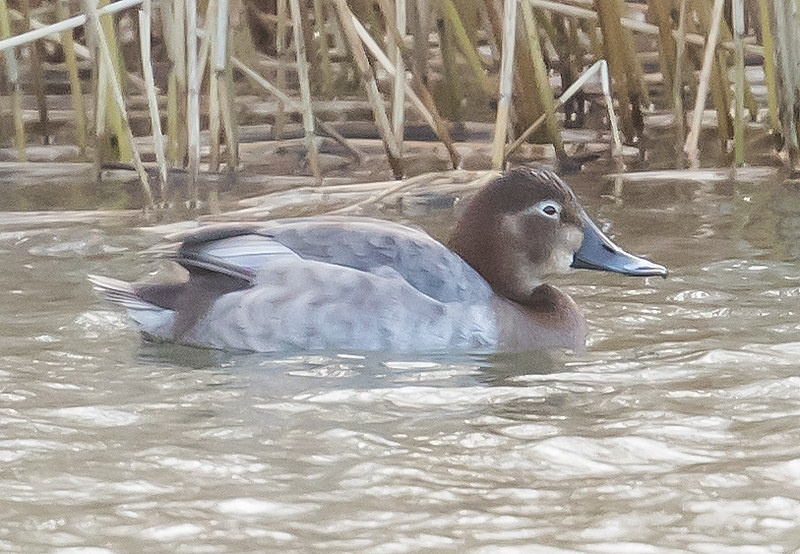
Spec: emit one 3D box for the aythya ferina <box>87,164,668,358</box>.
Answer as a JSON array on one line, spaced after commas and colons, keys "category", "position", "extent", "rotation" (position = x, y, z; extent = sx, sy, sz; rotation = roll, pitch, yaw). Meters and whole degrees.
[{"category": "aythya ferina", "position": [-0.045, -0.020, 4.257], "extent": [2.152, 0.657, 1.074], "rotation": [0, 10, -5]}]
